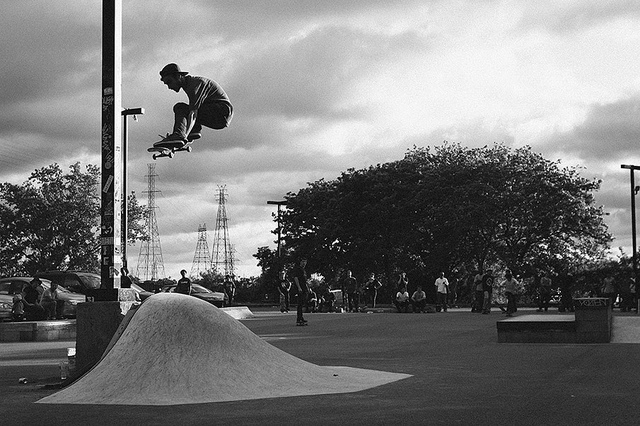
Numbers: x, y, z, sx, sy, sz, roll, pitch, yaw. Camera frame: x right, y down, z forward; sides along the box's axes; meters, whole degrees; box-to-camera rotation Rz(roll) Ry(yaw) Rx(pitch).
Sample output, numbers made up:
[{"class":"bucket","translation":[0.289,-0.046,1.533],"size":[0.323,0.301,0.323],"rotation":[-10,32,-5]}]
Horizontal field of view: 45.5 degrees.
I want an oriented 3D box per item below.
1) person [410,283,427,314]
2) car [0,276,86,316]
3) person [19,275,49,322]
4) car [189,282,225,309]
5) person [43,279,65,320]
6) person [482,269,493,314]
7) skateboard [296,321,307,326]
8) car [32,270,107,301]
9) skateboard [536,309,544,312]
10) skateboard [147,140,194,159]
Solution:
[{"class":"person","translation":[4.351,3.763,33.689],"size":[0.615,1.290,2.761],"rotation":[-2,-8,8]},{"class":"car","translation":[-9.157,2.755,24.996],"size":[3.520,1.178,1.708],"rotation":[-1,-5,11]},{"class":"person","translation":[-9.203,2.805,24.493],"size":[0.968,1.673,0.789],"rotation":[-11,-15,5]},{"class":"car","translation":[-5.661,4.154,38.652],"size":[1.625,1.135,3.135],"rotation":[0,-8,-8]},{"class":"person","translation":[-8.710,2.707,24.686],"size":[0.626,1.032,0.588],"rotation":[1,21,-16]},{"class":"person","translation":[6.694,3.130,30.469],"size":[0.462,1.720,1.596],"rotation":[-3,-8,12]},{"class":"skateboard","translation":[-0.585,3.579,24.670],"size":[0.285,0.126,0.325],"rotation":[-1,-8,-2]},{"class":"car","translation":[-9.554,2.559,28.962],"size":[2.685,1.198,1.381],"rotation":[8,24,23]},{"class":"skateboard","translation":[9.477,4.191,32.827],"size":[0.267,0.087,0.265],"rotation":[1,-3,5]},{"class":"skateboard","translation":[-2.806,-1.203,14.214],"size":[0.746,0.281,0.347],"rotation":[-4,-8,14]}]
